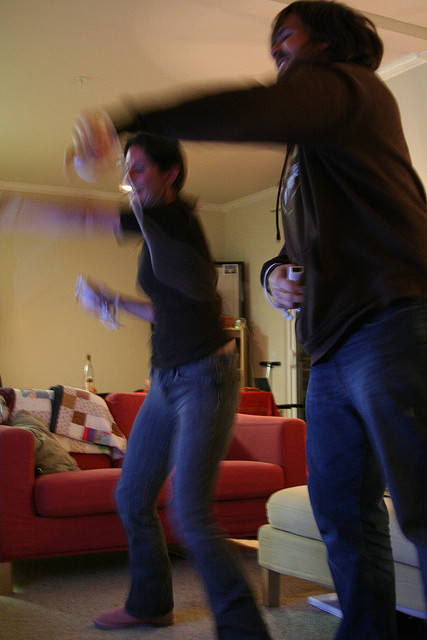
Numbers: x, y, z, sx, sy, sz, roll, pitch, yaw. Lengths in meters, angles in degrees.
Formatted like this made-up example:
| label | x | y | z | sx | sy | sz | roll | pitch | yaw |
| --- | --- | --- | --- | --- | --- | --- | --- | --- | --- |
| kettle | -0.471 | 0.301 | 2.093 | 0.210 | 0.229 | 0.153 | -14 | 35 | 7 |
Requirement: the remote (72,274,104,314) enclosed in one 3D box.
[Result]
| label | x | y | z | sx | sy | sz | roll | pitch | yaw |
| --- | --- | --- | --- | --- | --- | --- | --- | --- | --- |
| remote | -0.131 | -0.026 | 0.546 | 0.023 | 0.033 | 0.008 | 14 | 45 | 5 |
